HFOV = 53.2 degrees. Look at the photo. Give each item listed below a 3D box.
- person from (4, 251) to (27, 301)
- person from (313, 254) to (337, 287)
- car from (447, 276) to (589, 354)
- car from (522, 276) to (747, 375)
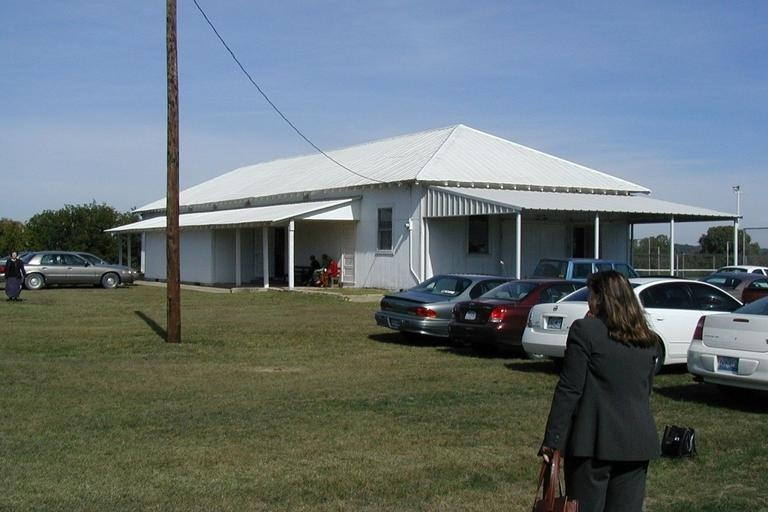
[{"bbox_3d":[-12.642,0.695,26.180,0.541,1.644,1.211,-1,4,-25],"label":"person"},{"bbox_3d":[-2.455,0.655,31.774,0.981,1.247,0.678,2,4,23],"label":"person"},{"bbox_3d":[3.064,1.176,16.154,2.897,0.985,1.291,-3,2,-40],"label":"car"},{"bbox_3d":[4.632,1.029,14.061,4.151,1.313,1.934,-1,0,-27],"label":"car"}]
